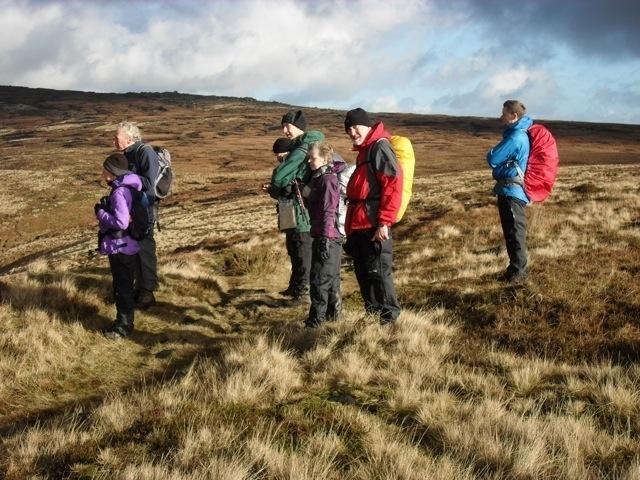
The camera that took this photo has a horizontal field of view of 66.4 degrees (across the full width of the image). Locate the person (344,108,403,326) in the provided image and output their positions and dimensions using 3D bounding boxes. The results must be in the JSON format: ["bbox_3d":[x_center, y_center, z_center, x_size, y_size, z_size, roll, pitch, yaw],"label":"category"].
[{"bbox_3d":[0.685,-0.183,6.124,0.440,2.494,0.777,-12,13,-39],"label":"person"}]

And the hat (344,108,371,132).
[{"bbox_3d":[0.466,-1.468,5.986,0.327,0.258,0.641,-3,11,5],"label":"hat"}]

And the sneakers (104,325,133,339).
[{"bbox_3d":[-2.637,1.191,6.353,0.274,0.124,0.150,-3,45,-22],"label":"sneakers"}]

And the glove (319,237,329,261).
[{"bbox_3d":[0.047,0.121,6.172,0.134,0.251,0.074,3,-6,35],"label":"glove"}]

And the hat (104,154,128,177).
[{"bbox_3d":[-2.605,-0.950,6.258,0.228,0.235,0.308,5,-4,-9],"label":"hat"}]

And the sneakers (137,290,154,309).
[{"bbox_3d":[-2.588,0.880,7.214,0.181,0.254,0.261,3,10,9],"label":"sneakers"}]

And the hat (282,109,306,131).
[{"bbox_3d":[-0.401,-1.817,7.377,0.258,0.275,0.361,0,-5,39],"label":"hat"}]

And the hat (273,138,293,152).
[{"bbox_3d":[-0.572,-1.401,7.306,0.192,0.181,0.281,6,8,41],"label":"hat"}]

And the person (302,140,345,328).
[{"bbox_3d":[0.030,-0.049,6.388,0.533,2.388,0.655,-3,10,6],"label":"person"}]

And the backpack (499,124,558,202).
[{"bbox_3d":[3.219,-1.156,7.566,0.844,1.161,0.400,-1,8,-27],"label":"backpack"}]
